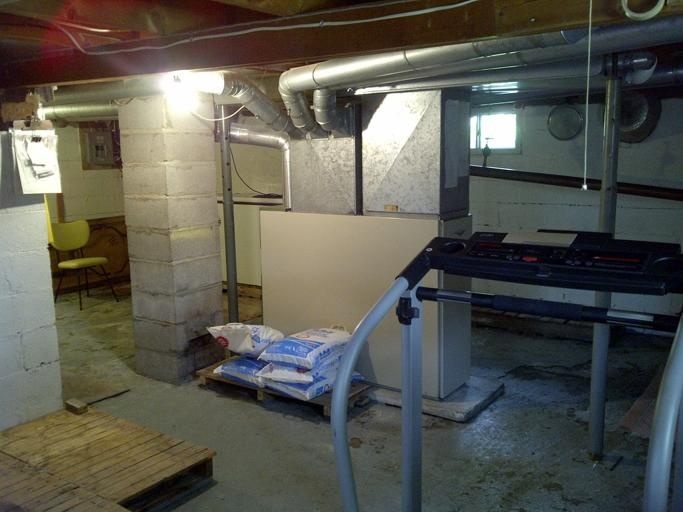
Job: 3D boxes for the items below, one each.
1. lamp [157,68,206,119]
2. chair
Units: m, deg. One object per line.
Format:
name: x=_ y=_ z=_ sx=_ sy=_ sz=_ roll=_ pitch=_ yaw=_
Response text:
lamp: x=-1.276 y=-1.293 z=4.357 sx=0.327 sy=0.300 sz=1.056 roll=-4 pitch=14 yaw=-14
chair: x=-3.554 y=0.068 z=7.363 sx=0.794 sy=1.007 sz=0.640 roll=12 pitch=12 yaw=27
